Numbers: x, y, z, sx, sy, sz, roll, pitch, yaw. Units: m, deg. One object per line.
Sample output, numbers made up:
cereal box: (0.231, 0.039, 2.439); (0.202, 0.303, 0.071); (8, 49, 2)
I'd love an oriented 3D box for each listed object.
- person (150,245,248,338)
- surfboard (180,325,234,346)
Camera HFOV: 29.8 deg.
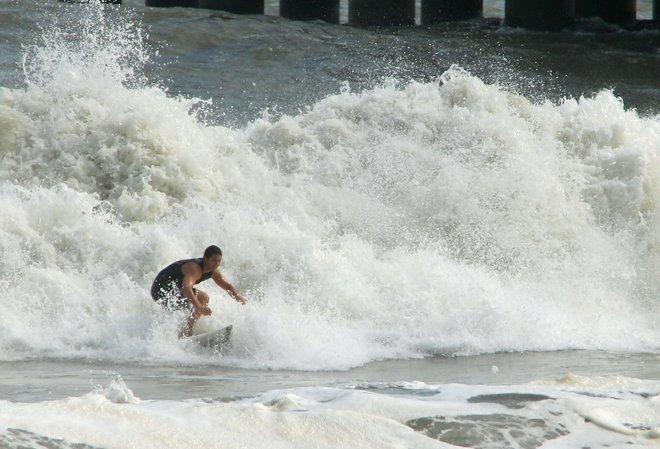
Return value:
person: (-1.954, 0.996, 18.117); (1.388, 1.373, 0.956); (9, 12, 13)
surfboard: (-1.652, 1.602, 17.675); (0.891, 0.163, 0.266); (-10, 30, 1)
